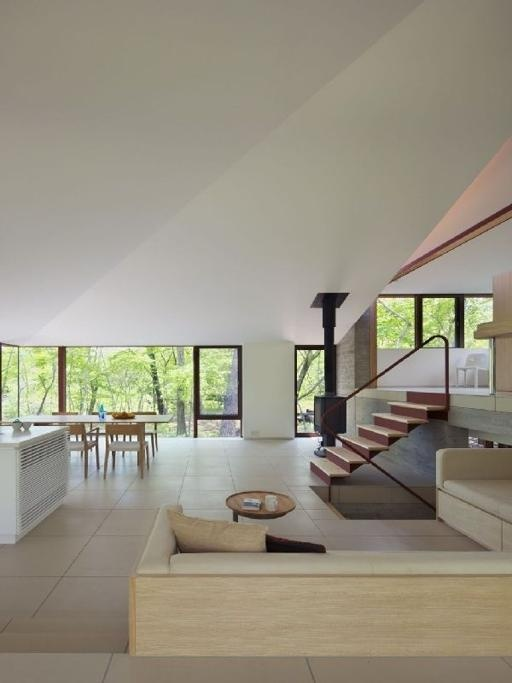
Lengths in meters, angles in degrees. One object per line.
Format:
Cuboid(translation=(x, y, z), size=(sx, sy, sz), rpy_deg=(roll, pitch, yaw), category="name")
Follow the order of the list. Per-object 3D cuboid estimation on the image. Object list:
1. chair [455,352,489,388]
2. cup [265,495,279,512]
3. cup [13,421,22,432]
Cuboid(translation=(3.753, 0.530, 9.487), size=(0.497, 0.595, 1.350), rpy_deg=(2, 6, 20), category="chair")
Cuboid(translation=(0.117, 1.279, 4.307), size=(0.074, 0.094, 0.116), rpy_deg=(4, -5, -37), category="cup")
Cuboid(translation=(-2.189, 0.798, 5.000), size=(0.071, 0.101, 0.147), rpy_deg=(-3, 6, -24), category="cup")
